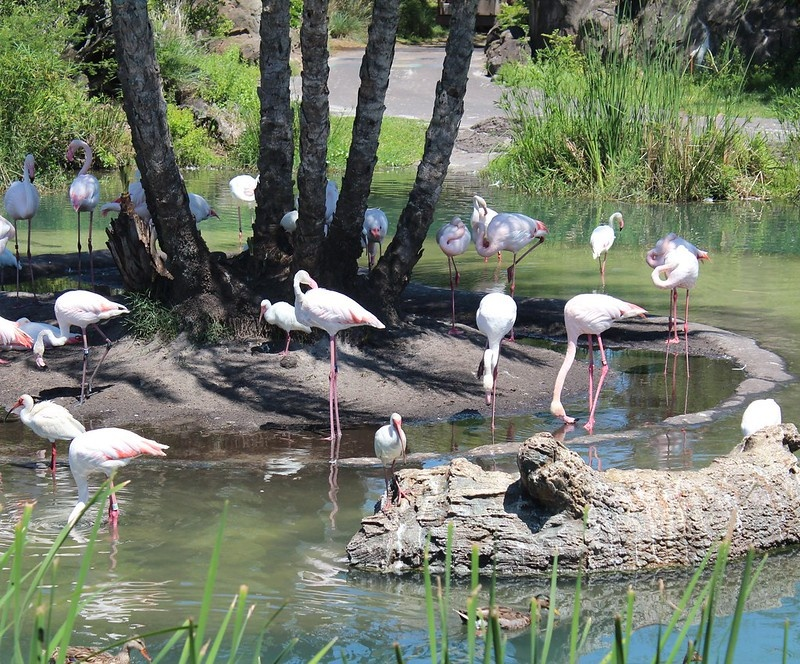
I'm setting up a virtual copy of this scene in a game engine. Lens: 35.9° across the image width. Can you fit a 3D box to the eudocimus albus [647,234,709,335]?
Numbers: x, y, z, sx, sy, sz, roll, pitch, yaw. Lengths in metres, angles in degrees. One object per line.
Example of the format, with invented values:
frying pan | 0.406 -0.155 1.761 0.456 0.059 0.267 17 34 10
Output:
eudocimus albus | 3.021 -0.491 13.187 0.308 1.004 1.211 14 32 30
